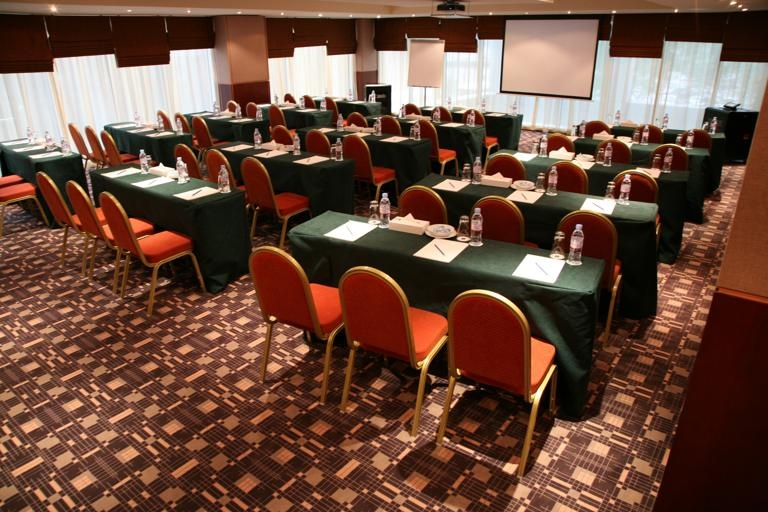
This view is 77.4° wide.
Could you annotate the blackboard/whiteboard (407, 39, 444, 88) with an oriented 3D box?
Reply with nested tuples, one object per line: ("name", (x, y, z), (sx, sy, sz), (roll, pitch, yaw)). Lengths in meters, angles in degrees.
("blackboard/whiteboard", (1.201, -5.617, 14.008), (1.186, 1.296, 0.072), (19, 27, 34))

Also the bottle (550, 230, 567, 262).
("bottle", (1.603, -0.122, 4.411), (0.132, 0.226, 0.306), (9, 27, 17))

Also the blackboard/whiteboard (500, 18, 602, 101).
("blackboard/whiteboard", (4.460, -5.267, 12.686), (2.449, 1.772, 0.101), (19, 35, 36))
